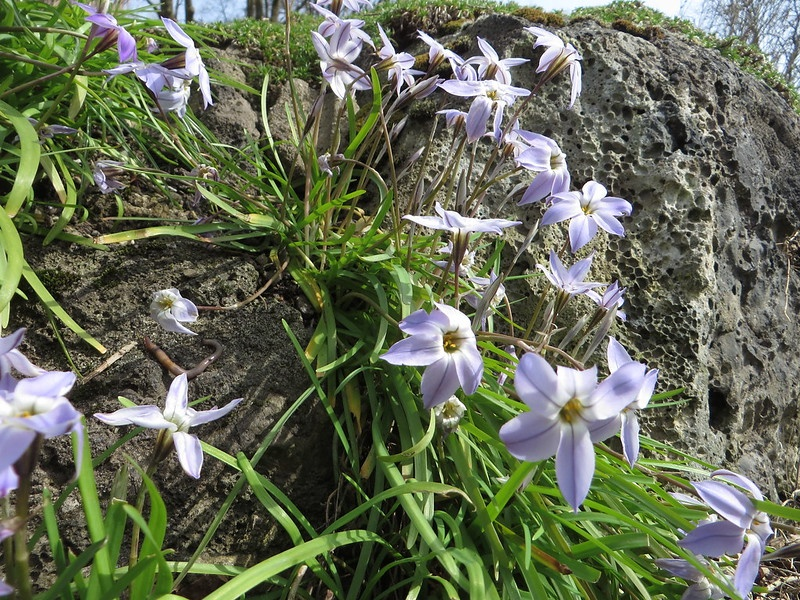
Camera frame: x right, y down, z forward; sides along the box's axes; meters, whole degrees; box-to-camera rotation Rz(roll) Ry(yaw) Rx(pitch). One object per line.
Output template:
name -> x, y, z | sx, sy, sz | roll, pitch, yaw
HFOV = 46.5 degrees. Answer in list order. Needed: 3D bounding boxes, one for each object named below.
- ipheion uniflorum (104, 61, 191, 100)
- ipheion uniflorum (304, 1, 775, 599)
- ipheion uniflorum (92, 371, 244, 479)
ipheion uniflorum -> -0.966, -0.880, 3.661 | 0.194, 0.059, 0.202 | 22, 17, 5
ipheion uniflorum -> 0.570, 0.066, 3.907 | 1.417, 0.752, 2.280 | -21, 69, -47
ipheion uniflorum -> -0.755, 0.375, 3.180 | 0.384, 0.184, 0.395 | 28, 11, -7
